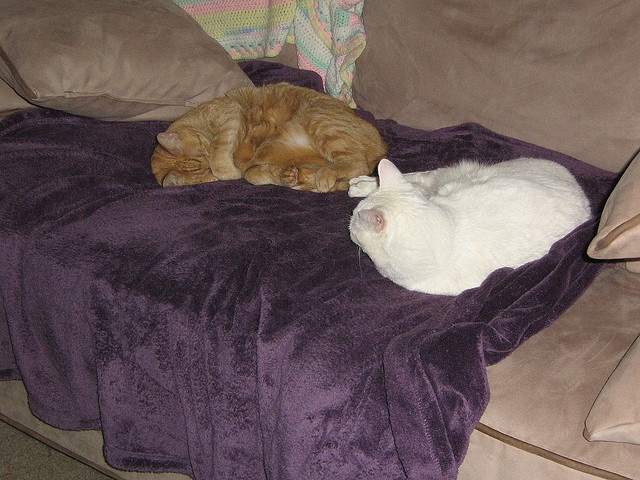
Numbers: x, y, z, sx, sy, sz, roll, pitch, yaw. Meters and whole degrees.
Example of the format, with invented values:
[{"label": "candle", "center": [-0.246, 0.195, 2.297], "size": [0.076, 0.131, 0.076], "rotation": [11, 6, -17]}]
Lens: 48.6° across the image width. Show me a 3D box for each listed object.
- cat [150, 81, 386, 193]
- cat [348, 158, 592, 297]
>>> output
[{"label": "cat", "center": [-0.210, -0.433, 3.065], "size": [0.711, 0.307, 0.581], "rotation": [-4, 38, -4]}, {"label": "cat", "center": [0.518, -0.077, 2.444], "size": [0.632, 0.262, 0.523], "rotation": [-7, 46, 16]}]
